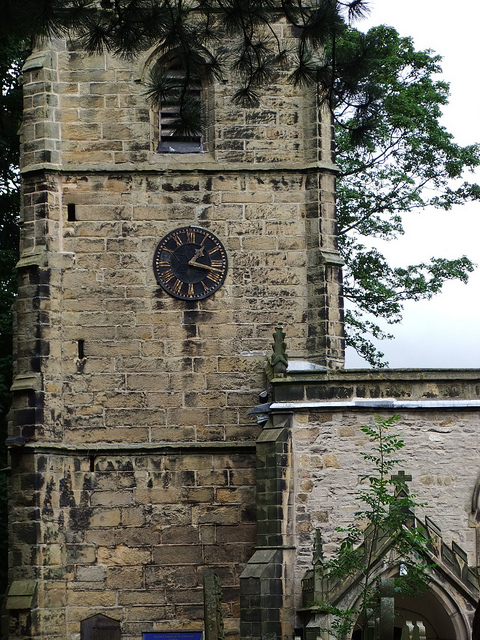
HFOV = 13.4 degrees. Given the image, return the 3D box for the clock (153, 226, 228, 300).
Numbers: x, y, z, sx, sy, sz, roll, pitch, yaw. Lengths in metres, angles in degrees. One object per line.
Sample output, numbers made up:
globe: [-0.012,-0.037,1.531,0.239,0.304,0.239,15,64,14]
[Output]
clock: [-0.764,-0.846,31.395,1.096,1.097,0.082,8,-17,-2]
